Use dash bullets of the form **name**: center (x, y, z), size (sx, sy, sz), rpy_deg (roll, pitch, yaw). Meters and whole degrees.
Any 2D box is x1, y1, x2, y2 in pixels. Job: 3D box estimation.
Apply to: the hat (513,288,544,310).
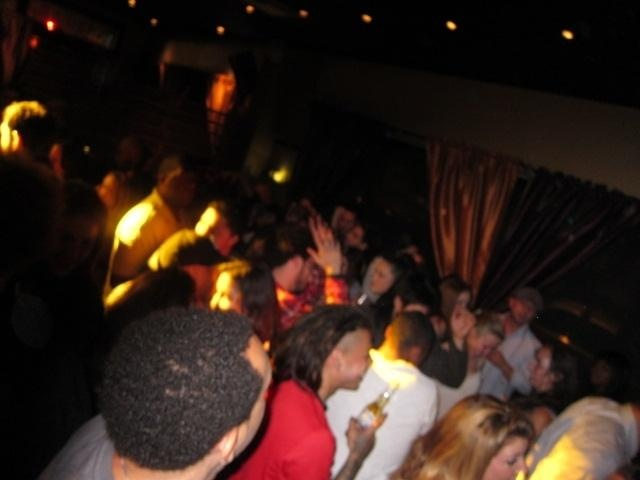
- **hat**: center (1.352, 0.379, 3.066), size (0.136, 0.089, 0.139), rpy_deg (35, -8, 8)
